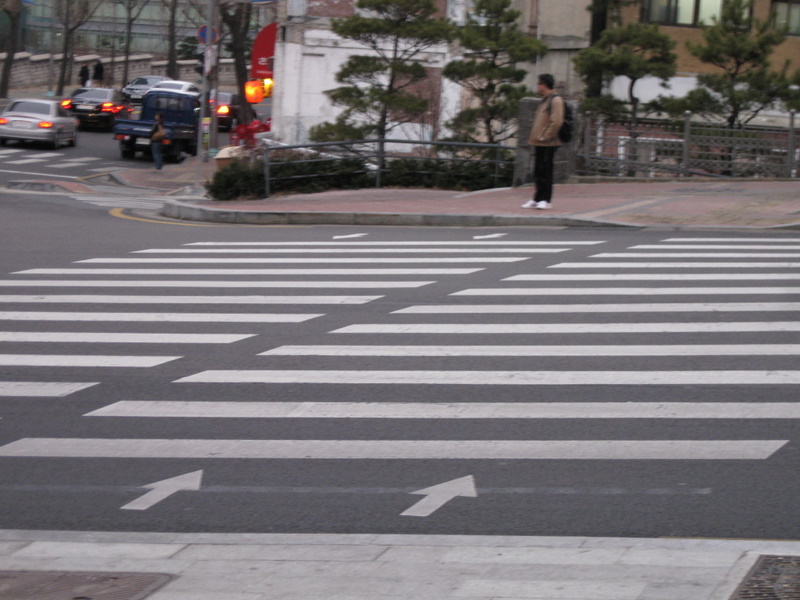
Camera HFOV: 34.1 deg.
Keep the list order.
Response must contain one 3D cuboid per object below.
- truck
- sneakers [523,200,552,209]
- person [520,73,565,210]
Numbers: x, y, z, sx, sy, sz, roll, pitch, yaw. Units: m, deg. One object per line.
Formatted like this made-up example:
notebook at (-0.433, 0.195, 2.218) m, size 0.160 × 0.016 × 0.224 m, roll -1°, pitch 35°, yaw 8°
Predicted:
truck at (-7.287, -5.341, 40.398) m, size 2.512 × 1.411 × 3.212 m, roll 4°, pitch 14°, yaw 15°
sneakers at (2.193, -1.449, 20.207) m, size 0.315 × 0.071 × 0.202 m, roll 3°, pitch -3°, yaw -30°
person at (2.259, -2.414, 20.254) m, size 0.521 × 2.060 × 1.075 m, roll 5°, pitch 6°, yaw 5°
